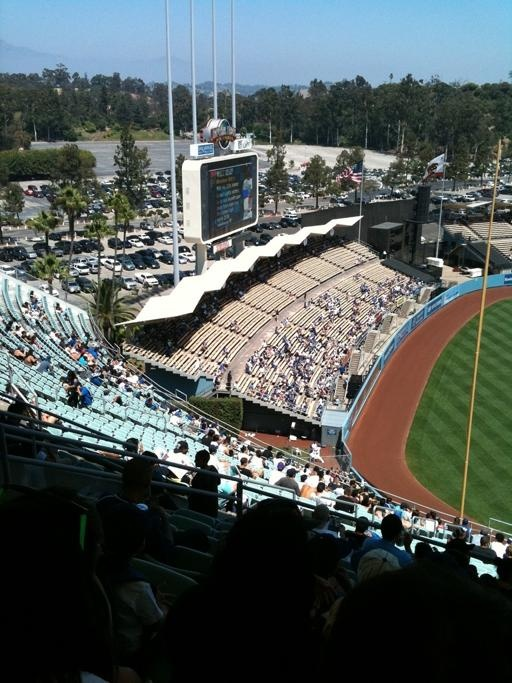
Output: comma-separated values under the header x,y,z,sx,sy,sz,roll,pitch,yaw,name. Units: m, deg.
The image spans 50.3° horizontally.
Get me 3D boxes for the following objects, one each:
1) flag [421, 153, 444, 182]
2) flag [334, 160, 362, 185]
x,y,z,sx,sy,sz,roll,pitch,yaw,name
15.920,-15.485,48.208,1.326,2.259,4.858,6,19,20,flag
8.754,-15.379,49.508,1.825,1.782,7.077,3,18,12,flag
